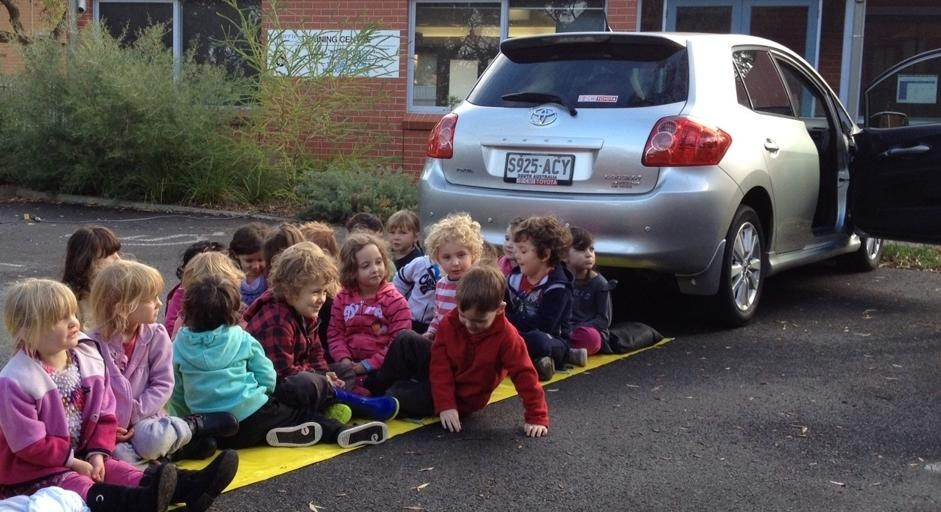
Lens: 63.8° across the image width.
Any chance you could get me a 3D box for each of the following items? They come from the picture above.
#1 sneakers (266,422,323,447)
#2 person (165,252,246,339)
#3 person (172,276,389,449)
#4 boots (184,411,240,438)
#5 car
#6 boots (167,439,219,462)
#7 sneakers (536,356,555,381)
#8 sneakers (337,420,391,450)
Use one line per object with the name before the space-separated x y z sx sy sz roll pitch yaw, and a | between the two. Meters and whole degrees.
sneakers | -1.288 1.327 5.595 0.371 0.173 0.147 5 -7 -7
person | -2.121 0.194 5.976 0.619 0.831 0.335 8 -13 -6
person | -1.453 0.902 5.812 1.924 1.368 1.187 3 7 33
boots | -1.846 1.205 5.491 0.439 0.149 0.172 -2 7 -11
car | 2.410 -0.972 8.195 2.864 1.954 4.741 6 13 42
boots | -1.963 1.405 5.434 0.383 0.130 0.257 3 30 -17
sneakers | 0.628 0.966 6.435 0.192 0.189 0.184 8 -10 5
sneakers | -0.800 1.339 5.696 0.327 0.176 0.166 -11 15 -15
